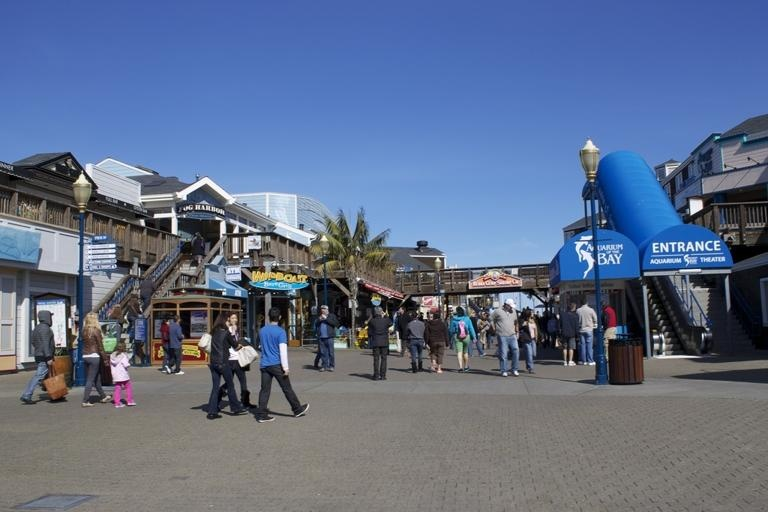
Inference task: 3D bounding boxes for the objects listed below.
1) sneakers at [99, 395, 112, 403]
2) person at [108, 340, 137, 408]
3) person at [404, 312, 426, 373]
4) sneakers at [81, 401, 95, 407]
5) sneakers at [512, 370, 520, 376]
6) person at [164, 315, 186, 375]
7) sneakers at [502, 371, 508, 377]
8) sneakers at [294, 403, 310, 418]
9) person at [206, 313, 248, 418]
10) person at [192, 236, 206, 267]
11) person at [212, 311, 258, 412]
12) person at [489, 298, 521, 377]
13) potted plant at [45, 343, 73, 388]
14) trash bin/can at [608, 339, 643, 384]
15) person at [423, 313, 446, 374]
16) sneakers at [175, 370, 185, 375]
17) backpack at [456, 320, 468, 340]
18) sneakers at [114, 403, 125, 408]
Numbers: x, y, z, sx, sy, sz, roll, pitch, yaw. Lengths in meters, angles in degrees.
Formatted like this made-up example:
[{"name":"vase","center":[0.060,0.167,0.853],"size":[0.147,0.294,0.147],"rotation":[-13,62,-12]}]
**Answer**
[{"name":"sneakers","center":[-6.918,3.560,17.902],"size":[0.145,0.138,0.317],"rotation":[-1,1,7]},{"name":"person","center":[-6.282,2.850,17.318],"size":[0.574,1.520,0.808],"rotation":[1,-9,-19]},{"name":"person","center":[1.008,2.826,23.356],"size":[0.662,1.933,0.653],"rotation":[1,-5,-20]},{"name":"sneakers","center":[-7.085,3.551,17.301],"size":[0.371,0.158,0.135],"rotation":[0,-2,-17]},{"name":"sneakers","center":[3.963,3.522,21.610],"size":[0.109,0.142,0.333],"rotation":[0,-15,-7]},{"name":"person","center":[-6.937,2.945,23.850],"size":[0.479,1.931,1.510],"rotation":[1,-9,-17]},{"name":"sneakers","center":[3.597,3.515,21.364],"size":[0.088,0.099,0.224],"rotation":[-1,-20,1]},{"name":"sneakers","center":[-1.807,3.401,15.881],"size":[0.410,0.181,0.148],"rotation":[-37,21,-27]},{"name":"person","center":[-3.591,2.455,16.293],"size":[0.835,2.324,0.962],"rotation":[0,-8,-12]},{"name":"person","center":[-8.553,-0.327,33.035],"size":[0.538,1.628,1.762],"rotation":[1,-9,-16]},{"name":"person","center":[-3.506,2.433,16.690],"size":[1.223,2.414,0.741],"rotation":[3,14,-1]},{"name":"person","center":[3.615,2.379,21.396],"size":[0.856,2.269,0.720],"rotation":[1,-9,-1]},{"name":"potted plant","center":[-8.709,2.960,19.553],"size":[0.866,1.008,1.022],"rotation":[0,-8,-6]},{"name":"trash bin/can","center":[6.429,2.740,18.679],"size":[1.047,1.142,1.028],"rotation":[2,-4,-18]},{"name":"person","center":[1.646,2.762,23.095],"size":[0.671,1.904,1.118],"rotation":[-2,-8,4]},{"name":"sneakers","center":[-6.711,3.825,23.564],"size":[0.291,0.129,0.107],"rotation":[-4,1,9]},{"name":"backpack","center":[2.560,2.426,23.680],"size":[0.343,0.622,0.222],"rotation":[-6,-6,-20]},{"name":"sneakers","center":[-6.310,3.537,17.109],"size":[0.236,0.106,0.385],"rotation":[1,-9,-21]}]
